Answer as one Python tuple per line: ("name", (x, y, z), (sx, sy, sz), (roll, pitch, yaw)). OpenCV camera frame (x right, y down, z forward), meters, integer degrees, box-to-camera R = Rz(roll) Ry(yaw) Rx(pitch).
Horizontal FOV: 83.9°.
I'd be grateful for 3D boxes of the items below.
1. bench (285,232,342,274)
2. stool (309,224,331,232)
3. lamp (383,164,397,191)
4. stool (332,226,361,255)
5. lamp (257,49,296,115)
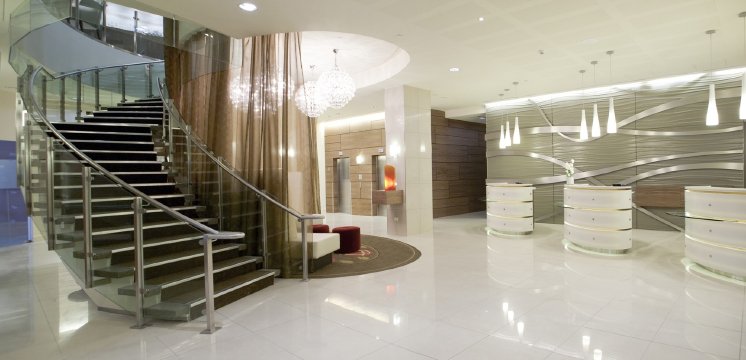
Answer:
("bench", (-1.718, 2.048, 11.897), (1.326, 0.713, 1.767), (-1, 0, 18))
("stool", (-1.698, 1.590, 13.500), (0.532, 0.234, 0.520), (0, 2, 38))
("lamp", (0.658, -0.121, 15.280), (0.455, 0.905, 0.352), (3, 16, 20))
("stool", (-0.888, 1.885, 13.524), (0.972, 0.641, 0.924), (-1, -2, 33))
("lamp", (-2.768, -2.872, 11.788), (1.256, 1.854, 0.644), (-4, 15, -8))
